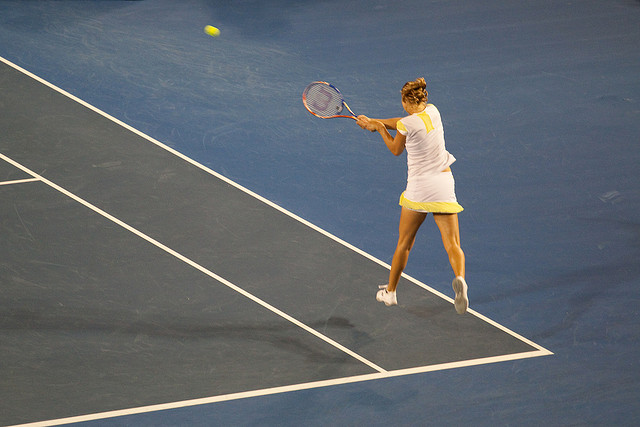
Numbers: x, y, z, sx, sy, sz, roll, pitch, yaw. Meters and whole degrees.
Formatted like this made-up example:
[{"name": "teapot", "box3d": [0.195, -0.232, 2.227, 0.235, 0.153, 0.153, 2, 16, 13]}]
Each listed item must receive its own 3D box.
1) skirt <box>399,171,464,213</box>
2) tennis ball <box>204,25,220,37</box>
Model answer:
[{"name": "skirt", "box3d": [1.265, -0.283, 9.746, 0.820, 0.439, 0.475, 8, 11, 35]}, {"name": "tennis ball", "box3d": [-1.400, -2.360, 11.113, 0.177, 0.147, 0.093, 3, 30, 26]}]
